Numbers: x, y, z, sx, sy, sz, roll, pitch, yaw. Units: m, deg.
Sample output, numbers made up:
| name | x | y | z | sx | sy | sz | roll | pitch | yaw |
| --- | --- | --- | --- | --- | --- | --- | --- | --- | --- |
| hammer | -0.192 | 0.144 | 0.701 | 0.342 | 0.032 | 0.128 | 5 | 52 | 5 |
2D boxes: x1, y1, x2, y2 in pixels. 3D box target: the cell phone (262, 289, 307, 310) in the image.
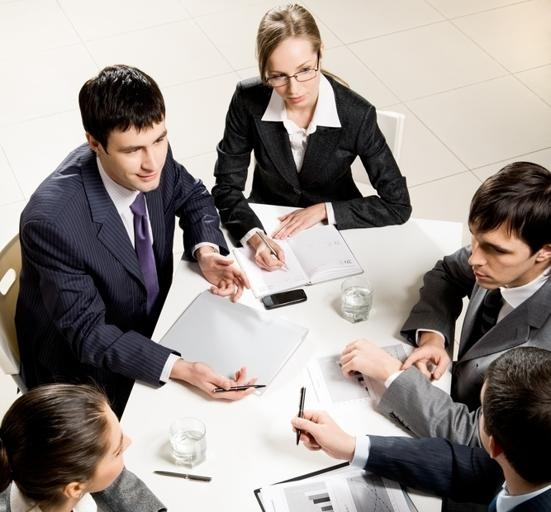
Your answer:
| name | x | y | z | sx | sy | sz | roll | pitch | yaw |
| --- | --- | --- | --- | --- | --- | --- | --- | --- | --- |
| cell phone | 0.032 | 0.148 | 1.702 | 0.140 | 0.023 | 0.064 | -7 | 42 | -7 |

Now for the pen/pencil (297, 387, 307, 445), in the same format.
| name | x | y | z | sx | sy | sz | roll | pitch | yaw |
| --- | --- | --- | --- | --- | --- | --- | --- | --- | --- |
| pen/pencil | 0.071 | 0.426 | 1.350 | 0.016 | 0.167 | 0.017 | -14 | -30 | 42 |

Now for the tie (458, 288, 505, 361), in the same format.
| name | x | y | z | sx | sy | sz | roll | pitch | yaw |
| --- | --- | --- | --- | --- | --- | --- | --- | --- | --- |
| tie | 0.642 | 0.217 | 1.632 | 0.052 | 0.222 | 0.136 | 10 | 40 | 0 |

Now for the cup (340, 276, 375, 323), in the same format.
| name | x | y | z | sx | sy | sz | roll | pitch | yaw |
| --- | --- | --- | --- | --- | --- | --- | --- | --- | --- |
| cup | 0.266 | 0.137 | 1.681 | 0.097 | 0.134 | 0.154 | -2 | 37 | 5 |

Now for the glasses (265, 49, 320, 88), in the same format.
| name | x | y | z | sx | sy | sz | roll | pitch | yaw |
| --- | --- | --- | --- | --- | --- | --- | --- | --- | --- |
| glasses | 0.070 | -0.725 | 1.944 | 0.222 | 0.123 | 0.110 | -4 | 24 | 0 |

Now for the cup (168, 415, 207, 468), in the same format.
| name | x | y | z | sx | sy | sz | roll | pitch | yaw |
| --- | --- | --- | --- | --- | --- | --- | --- | --- | --- |
| cup | -0.221 | 0.473 | 1.261 | 0.118 | 0.107 | 0.101 | -8 | 33 | -17 |
